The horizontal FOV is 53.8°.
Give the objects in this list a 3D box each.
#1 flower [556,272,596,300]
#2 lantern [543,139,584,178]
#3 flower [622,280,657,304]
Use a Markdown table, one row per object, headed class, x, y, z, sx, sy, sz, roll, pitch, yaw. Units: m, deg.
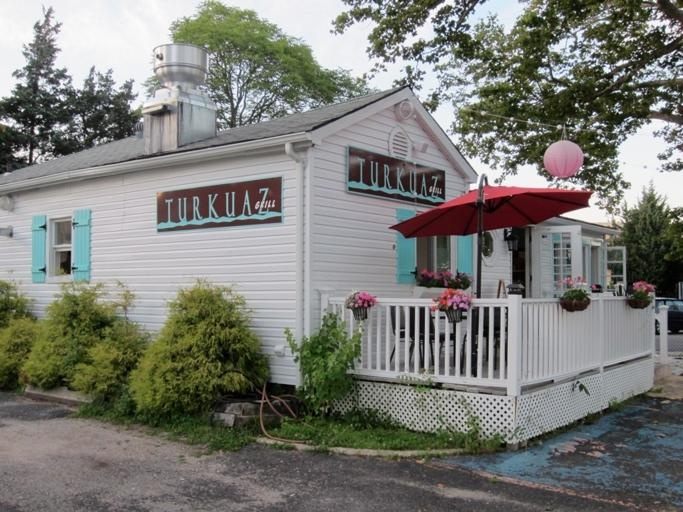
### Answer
| class | x | y | z | sx | sy | sz | roll | pitch | yaw |
| --- | --- | --- | --- | --- | --- | --- | --- | --- | --- |
| flower | 5.458 | 0.691 | 15.868 | 0.374 | 0.504 | 0.706 | 0 | -3 | -19 |
| lantern | 4.476 | -1.909 | 13.489 | 0.742 | 0.849 | 0.758 | -2 | 3 | -4 |
| flower | 6.130 | 0.749 | 13.945 | 0.534 | 0.647 | 0.718 | -2 | -4 | 37 |
